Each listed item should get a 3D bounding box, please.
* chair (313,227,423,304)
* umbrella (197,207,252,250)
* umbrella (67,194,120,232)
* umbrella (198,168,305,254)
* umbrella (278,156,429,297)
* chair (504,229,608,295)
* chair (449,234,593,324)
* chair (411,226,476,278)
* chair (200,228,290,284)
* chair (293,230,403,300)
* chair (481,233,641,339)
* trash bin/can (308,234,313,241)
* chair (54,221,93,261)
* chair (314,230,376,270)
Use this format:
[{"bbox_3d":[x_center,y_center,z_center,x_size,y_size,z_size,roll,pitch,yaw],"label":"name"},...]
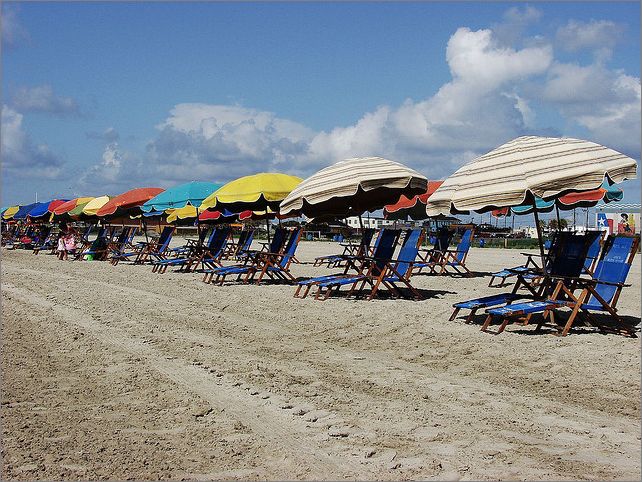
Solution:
[{"bbox_3d":[0.754,0.432,10.836,2.284,1.241,1.270,-3,8,-35],"label":"chair"},{"bbox_3d":[-3.458,-0.473,20.499,1.971,1.044,1.778,-4,2,-42],"label":"umbrella"},{"bbox_3d":[-9.006,-1.065,22.897,2.177,0.691,1.953,-9,4,9],"label":"umbrella"},{"bbox_3d":[-1.350,-0.774,13.184,2.402,1.110,2.180,-4,4,-22],"label":"umbrella"},{"bbox_3d":[0.713,-0.332,11.115,3.062,2.139,2.828,-4,-6,-14],"label":"umbrella"},{"bbox_3d":[3.418,0.439,7.971,0.802,0.793,1.025,-4,19,27],"label":"chair"},{"bbox_3d":[2.970,0.618,8.901,0.861,1.020,2.167,1,-15,-40],"label":"chair"},{"bbox_3d":[3.368,0.135,15.697,0.894,0.876,1.434,-3,8,-43],"label":"chair"},{"bbox_3d":[-1.505,0.386,12.930,2.093,1.079,0.900,-5,1,-31],"label":"chair"},{"bbox_3d":[0.534,0.401,10.786,2.153,1.183,0.815,-9,19,-25],"label":"chair"},{"bbox_3d":[3.370,0.673,8.307,2.587,1.458,1.130,2,-1,-21],"label":"chair"},{"bbox_3d":[-0.923,-0.315,50.904,0.536,0.464,0.491,1,0,19],"label":"trash bin/can"},{"bbox_3d":[-9.701,0.023,23.228,1.710,1.592,2.952,0,-2,-27],"label":"chair"},{"bbox_3d":[0.710,0.288,17.461,2.292,1.200,1.187,1,-1,-33],"label":"chair"}]
